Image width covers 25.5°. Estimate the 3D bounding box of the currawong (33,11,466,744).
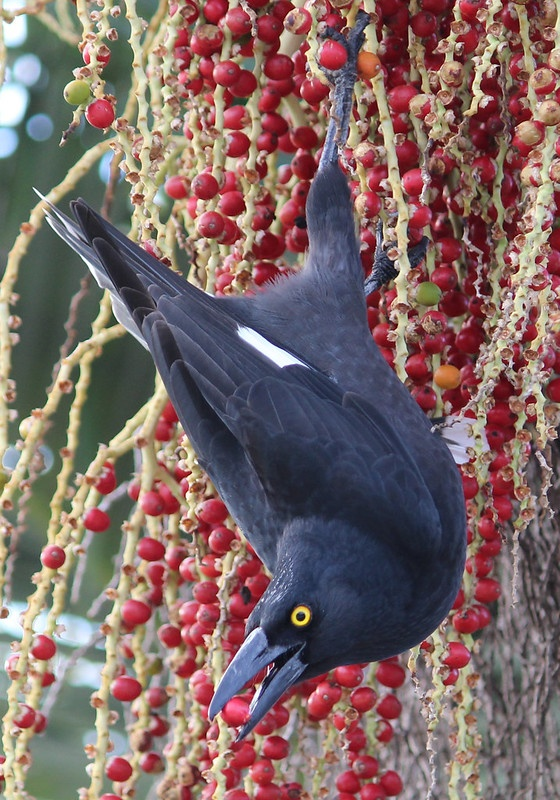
[{"bbox_3d":[-0.007,0.007,1.665,0.450,0.906,0.360,-6,-1,-26],"label":"currawong"}]
